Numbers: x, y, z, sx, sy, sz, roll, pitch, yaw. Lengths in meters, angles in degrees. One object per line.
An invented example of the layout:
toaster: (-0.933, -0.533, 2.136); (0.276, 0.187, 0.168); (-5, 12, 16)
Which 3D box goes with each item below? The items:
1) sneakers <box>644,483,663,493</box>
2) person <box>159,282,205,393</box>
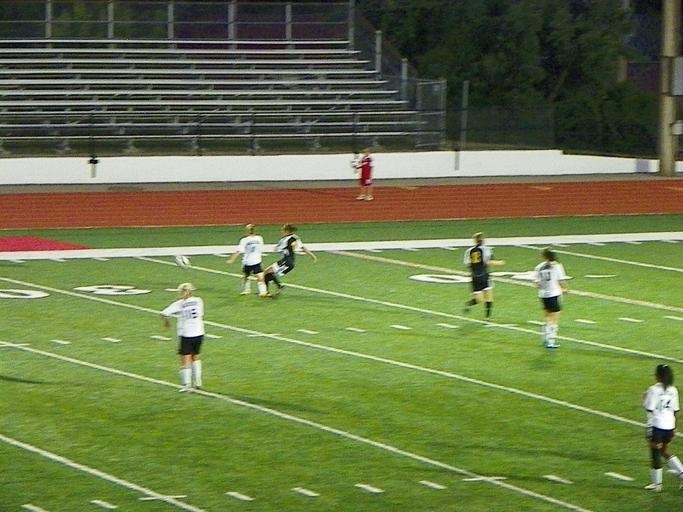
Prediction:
sneakers: (4.201, 3.097, 16.113); (0.282, 0.069, 0.103); (3, 3, 24)
person: (-2.521, 1.310, 19.159); (0.624, 1.779, 0.532); (3, 6, -3)
